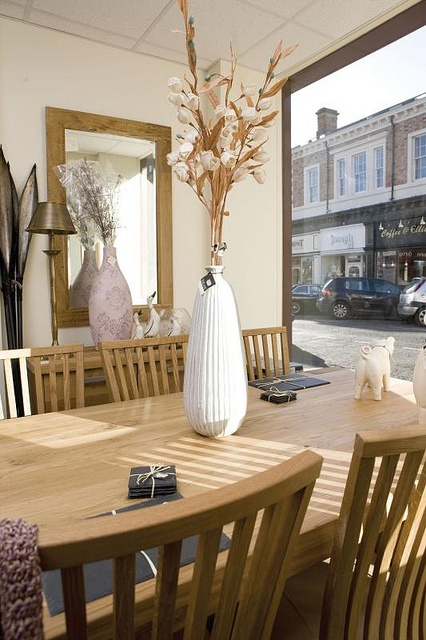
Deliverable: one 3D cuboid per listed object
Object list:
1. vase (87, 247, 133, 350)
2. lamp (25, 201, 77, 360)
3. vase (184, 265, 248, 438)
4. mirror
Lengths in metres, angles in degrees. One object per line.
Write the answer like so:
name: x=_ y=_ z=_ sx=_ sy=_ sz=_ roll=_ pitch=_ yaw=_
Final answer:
vase: x=-0.647 y=-0.161 z=2.849 sx=0.199 sy=0.618 sz=0.268 roll=3 pitch=9 yaw=32
lamp: x=-0.932 y=-0.246 z=2.743 sx=0.367 sy=0.902 sz=0.337 roll=1 pitch=3 yaw=41
vase: x=0.007 y=0.089 z=1.320 sx=0.195 sy=0.444 sz=0.204 roll=-2 pitch=5 yaw=-23
mirror: x=-0.747 y=-0.735 z=3.050 sx=0.903 sy=1.614 sz=0.151 roll=-4 pitch=5 yaw=-34
